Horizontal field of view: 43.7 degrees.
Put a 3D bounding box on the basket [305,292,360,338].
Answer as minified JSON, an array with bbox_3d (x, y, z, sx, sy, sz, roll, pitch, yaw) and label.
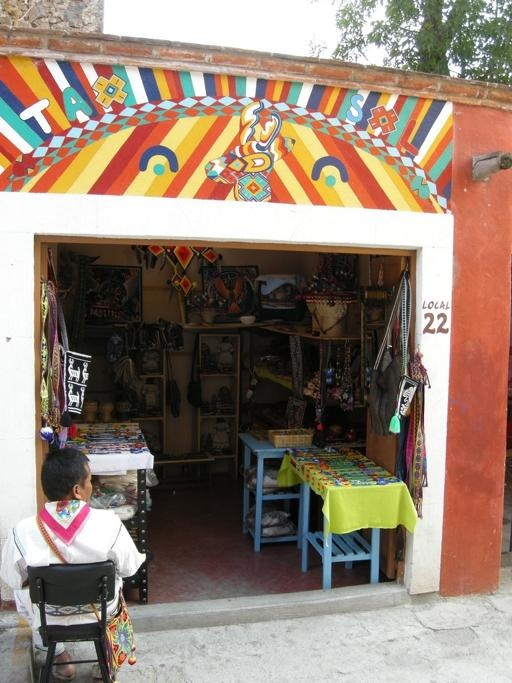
[{"bbox_3d":[0.657,-0.240,5.446,0.383,0.271,0.378,-1,5,-9],"label":"basket"}]

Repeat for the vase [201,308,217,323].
[{"bbox_3d":[-0.534,-0.314,7.280,0.134,0.125,0.165,0,-2,0],"label":"vase"}]

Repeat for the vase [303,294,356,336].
[{"bbox_3d":[0.624,-0.235,5.440,0.367,0.263,0.351,4,6,30],"label":"vase"}]

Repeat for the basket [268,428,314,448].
[{"bbox_3d":[0.289,0.802,5.284,0.360,0.114,0.318,2,3,-6],"label":"basket"}]

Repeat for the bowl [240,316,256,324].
[{"bbox_3d":[-0.100,-0.249,7.232,0.115,0.057,0.113,-1,6,0],"label":"bowl"}]

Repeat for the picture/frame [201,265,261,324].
[{"bbox_3d":[-0.318,-0.533,7.451,0.679,0.659,0.065,-5,-3,-15],"label":"picture/frame"}]

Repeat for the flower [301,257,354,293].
[{"bbox_3d":[0.695,-0.551,5.579,0.390,0.367,0.105,-1,-24,28],"label":"flower"}]

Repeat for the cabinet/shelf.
[{"bbox_3d":[-0.454,0.495,6.972,1.987,1.167,1.946,2,1,-6],"label":"cabinet/shelf"}]

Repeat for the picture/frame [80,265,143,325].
[{"bbox_3d":[-1.608,-0.516,6.975,0.700,0.705,0.054,-1,-7,-33],"label":"picture/frame"}]
